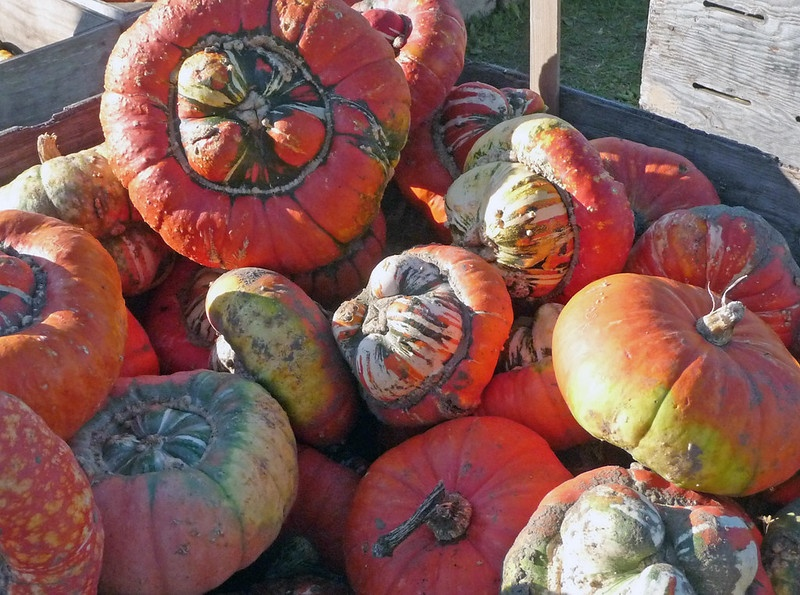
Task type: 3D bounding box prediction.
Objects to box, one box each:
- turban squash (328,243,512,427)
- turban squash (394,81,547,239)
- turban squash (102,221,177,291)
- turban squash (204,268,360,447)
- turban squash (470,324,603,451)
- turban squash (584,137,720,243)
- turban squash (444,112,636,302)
[{"bbox_3d":[0.065,0.117,2.637,0.531,0.431,0.335,-1,30,6],"label":"turban squash"},{"bbox_3d":[0.292,-0.603,3.265,0.456,0.616,0.243,22,-1,36],"label":"turban squash"},{"bbox_3d":[-0.882,-0.141,2.896,0.201,0.225,0.197,1,-17,-3],"label":"turban squash"},{"bbox_3d":[-0.312,0.135,2.707,0.396,0.534,0.223,-20,11,33],"label":"turban squash"},{"bbox_3d":[0.440,0.308,2.740,0.283,0.314,0.322,42,39,13],"label":"turban squash"},{"bbox_3d":[0.844,-0.357,2.881,0.359,0.399,0.164,1,-4,17],"label":"turban squash"},{"bbox_3d":[0.475,-0.287,2.841,0.544,0.626,0.364,-8,-7,19],"label":"turban squash"}]
